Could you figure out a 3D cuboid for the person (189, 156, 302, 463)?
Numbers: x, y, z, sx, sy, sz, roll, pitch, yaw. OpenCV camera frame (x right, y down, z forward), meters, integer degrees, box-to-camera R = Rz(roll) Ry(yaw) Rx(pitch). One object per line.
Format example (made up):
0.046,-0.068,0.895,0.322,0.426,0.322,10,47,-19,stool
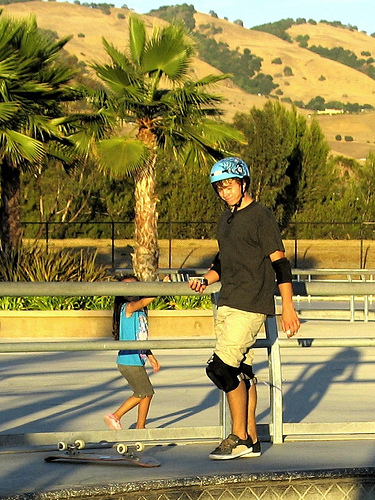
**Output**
0.330,0.310,5.163,0.503,1.631,0.400,-2,2,-1,person

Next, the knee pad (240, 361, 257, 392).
0.339,0.693,5.265,0.075,0.201,0.063,-1,0,-3,knee pad

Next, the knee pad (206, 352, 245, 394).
0.204,0.666,5.149,0.203,0.218,0.161,-3,2,1,knee pad

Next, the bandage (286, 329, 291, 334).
0.532,0.437,5.031,0.020,0.022,0.022,2,0,-1,bandage
